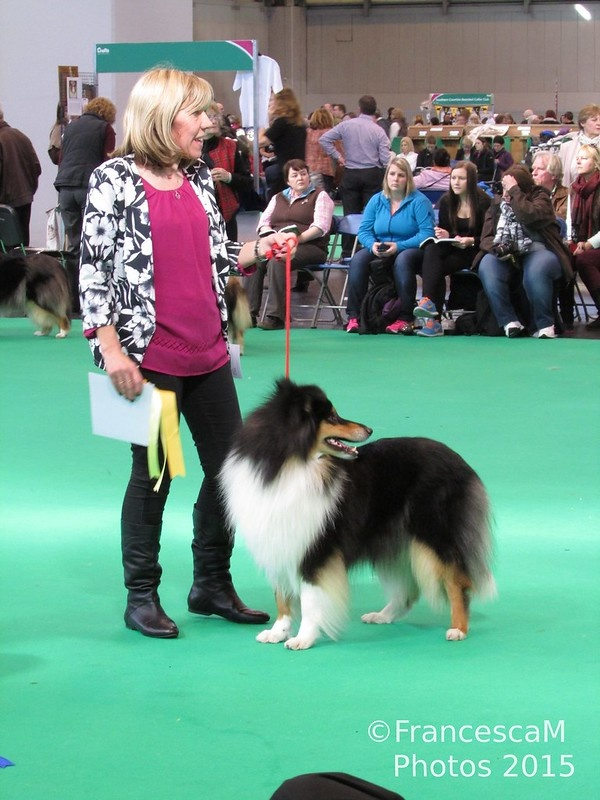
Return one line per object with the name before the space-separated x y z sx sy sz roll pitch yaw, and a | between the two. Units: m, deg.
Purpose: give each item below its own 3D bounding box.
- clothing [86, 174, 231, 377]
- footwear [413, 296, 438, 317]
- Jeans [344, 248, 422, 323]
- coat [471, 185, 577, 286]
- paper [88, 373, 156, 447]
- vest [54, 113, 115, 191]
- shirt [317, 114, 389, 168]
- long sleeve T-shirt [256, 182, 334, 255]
clothing | -0.410 -0.401 2.013 0.441 0.616 0.231 -1 3 -16
footwear | 1.315 -0.947 7.147 0.268 0.207 0.245 0 3 1
Jeans | 0.790 -1.243 7.600 0.782 0.723 0.760 -11 7 -21
coat | 2.267 -1.747 7.034 0.838 0.912 0.757 12 18 39
paper | -0.516 0.026 1.959 0.255 0.201 0.096 3 4 39
vest | -2.746 -3.154 8.864 0.826 0.978 0.552 8 9 24
shirt | 0.931 -4.008 10.739 1.123 0.846 0.425 9 36 11
long sleeve T-shirt | -0.033 -2.101 7.725 0.866 0.640 0.428 7 5 24
